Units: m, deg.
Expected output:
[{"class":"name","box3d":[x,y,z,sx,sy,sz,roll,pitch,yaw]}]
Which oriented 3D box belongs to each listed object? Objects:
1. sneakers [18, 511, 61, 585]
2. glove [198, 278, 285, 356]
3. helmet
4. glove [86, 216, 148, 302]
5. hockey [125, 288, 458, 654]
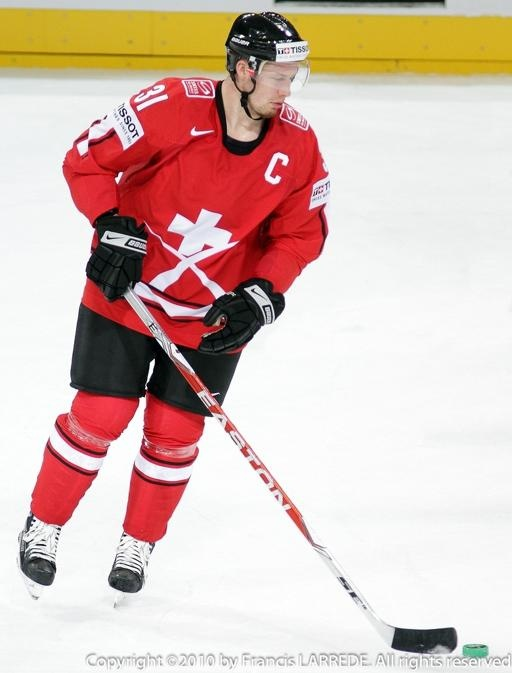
[{"class":"sneakers","box3d":[-0.474,0.456,1.571,0.067,0.110,0.188,31,0,-27]},{"class":"glove","box3d":[-0.028,-0.044,1.570,0.211,0.107,0.070,-30,-3,-22]},{"class":"helmet","box3d":[0.022,-0.584,1.486,0.160,0.121,0.137,24,28,36]},{"class":"glove","box3d":[-0.277,-0.160,1.530,0.128,0.169,0.070,21,10,14]},{"class":"hockey","box3d":[0.084,0.359,1.808,1.090,0.124,0.155,41,-19,13]}]
